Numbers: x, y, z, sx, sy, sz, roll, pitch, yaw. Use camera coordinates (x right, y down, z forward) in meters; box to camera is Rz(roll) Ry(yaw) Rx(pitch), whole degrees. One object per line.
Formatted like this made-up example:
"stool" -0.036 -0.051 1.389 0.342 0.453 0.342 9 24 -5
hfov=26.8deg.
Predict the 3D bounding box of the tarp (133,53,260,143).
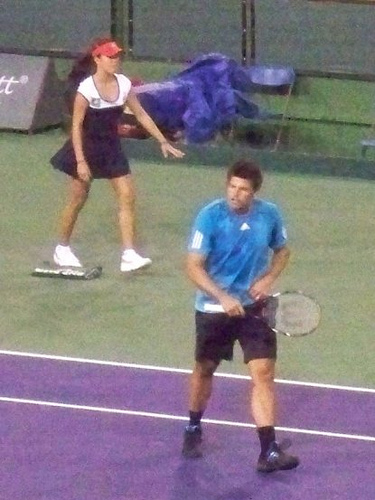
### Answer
"tarp" 0.086 -1.610 8.444 0.675 0.933 1.528 14 19 31

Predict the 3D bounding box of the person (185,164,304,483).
"person" 0.265 0.306 3.559 0.531 1.341 0.639 3 18 -1

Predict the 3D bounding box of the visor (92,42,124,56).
"visor" -0.537 -1.360 5.381 0.158 0.050 0.113 -10 4 40
